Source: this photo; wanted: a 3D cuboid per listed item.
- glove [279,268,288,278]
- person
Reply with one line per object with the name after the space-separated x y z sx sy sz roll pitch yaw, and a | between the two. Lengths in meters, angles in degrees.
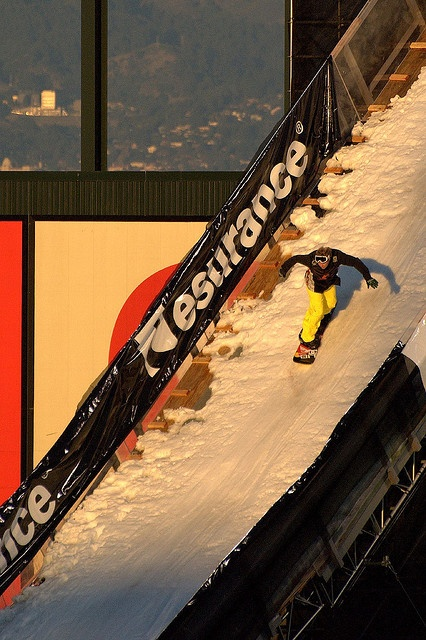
0.774 -0.534 12.249 0.104 0.109 0.029 -5 -9 17 | glove
1.195 -0.315 11.873 0.817 0.734 1.394 -14 -45 -14 | person
